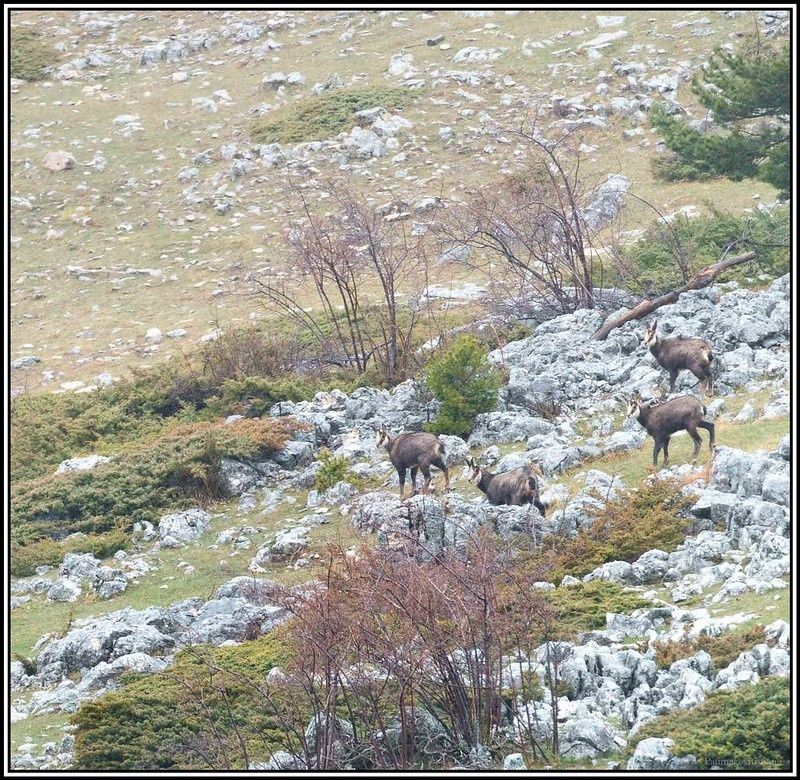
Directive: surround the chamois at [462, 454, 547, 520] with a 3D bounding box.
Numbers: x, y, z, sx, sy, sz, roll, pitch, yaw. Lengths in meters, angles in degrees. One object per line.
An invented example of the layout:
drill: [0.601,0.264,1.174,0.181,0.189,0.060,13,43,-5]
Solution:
chamois: [3.318,3.083,74.518,2.579,1.832,0.749,0,9,42]
